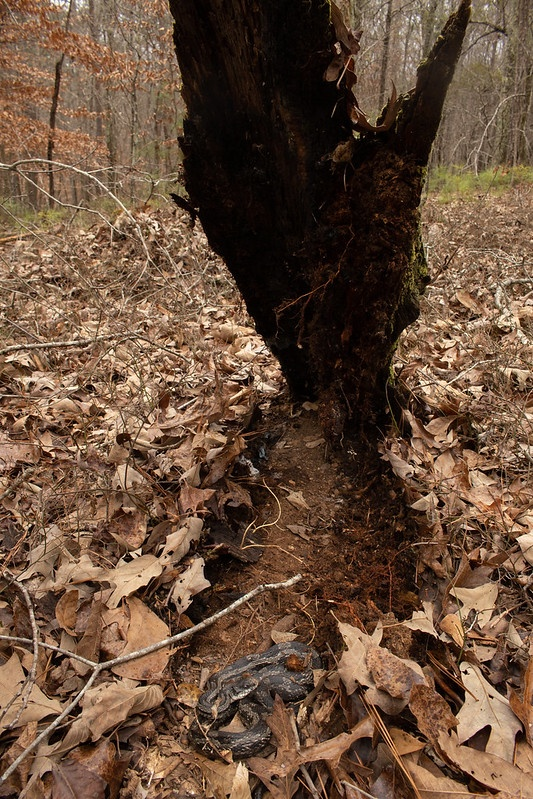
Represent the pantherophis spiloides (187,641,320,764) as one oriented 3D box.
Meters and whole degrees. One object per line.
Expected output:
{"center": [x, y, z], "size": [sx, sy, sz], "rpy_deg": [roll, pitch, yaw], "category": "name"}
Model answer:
{"center": [-0.014, 0.963, 2.012], "size": [0.376, 0.137, 0.634], "rpy_deg": [-5, 0, 16], "category": "pantherophis spiloides"}
